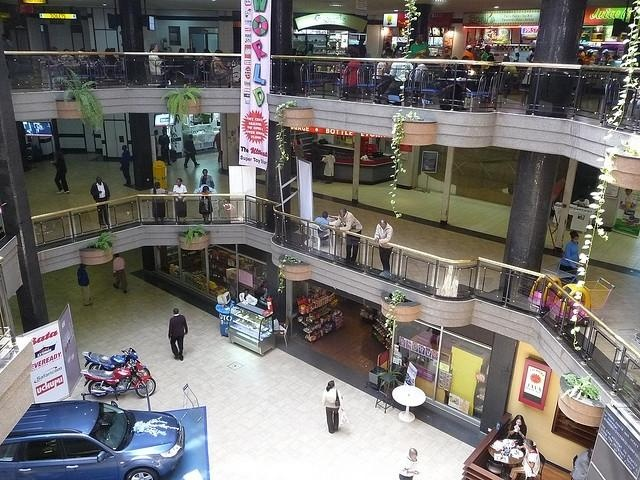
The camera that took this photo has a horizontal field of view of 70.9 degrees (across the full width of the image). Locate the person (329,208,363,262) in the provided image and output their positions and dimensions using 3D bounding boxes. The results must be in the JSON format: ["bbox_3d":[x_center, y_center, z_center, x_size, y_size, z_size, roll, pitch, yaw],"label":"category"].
[{"bbox_3d":[0.766,-0.165,14.211,0.945,1.568,1.499,0,22,1],"label":"person"}]

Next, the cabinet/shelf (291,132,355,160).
[{"bbox_3d":[0.181,-4.656,22.270,2.701,1.515,0.777,30,39,25],"label":"cabinet/shelf"}]

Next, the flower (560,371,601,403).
[{"bbox_3d":[5.016,2.818,8.705,0.615,0.412,0.719,6,23,14],"label":"flower"}]

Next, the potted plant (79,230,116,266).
[{"bbox_3d":[-7.731,0.324,15.752,0.904,0.856,1.144,8,15,15],"label":"potted plant"}]

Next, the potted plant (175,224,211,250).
[{"bbox_3d":[-4.813,-0.097,16.971,0.974,0.706,0.978,7,30,6],"label":"potted plant"}]

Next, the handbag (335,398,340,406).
[{"bbox_3d":[0.481,4.616,12.771,0.132,0.232,0.224,0,5,-3],"label":"handbag"}]

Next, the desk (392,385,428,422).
[{"bbox_3d":[2.579,4.915,13.308,1.000,0.744,1.020,12,16,38],"label":"desk"}]

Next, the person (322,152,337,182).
[{"bbox_3d":[0.442,-3.529,22.106,0.629,1.298,0.668,-7,23,-17],"label":"person"}]

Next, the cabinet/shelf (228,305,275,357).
[{"bbox_3d":[-2.492,3.366,16.278,1.300,1.204,0.760,17,29,28],"label":"cabinet/shelf"}]

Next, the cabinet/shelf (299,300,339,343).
[{"bbox_3d":[-0.129,3.181,17.243,1.243,1.076,0.405,-27,34,-36],"label":"cabinet/shelf"}]

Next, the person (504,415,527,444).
[{"bbox_3d":[5.237,5.087,12.020,0.374,1.119,0.438,12,-8,27],"label":"person"}]

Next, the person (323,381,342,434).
[{"bbox_3d":[0.320,4.789,12.857,0.506,1.494,0.495,0,22,1],"label":"person"}]

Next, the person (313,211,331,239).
[{"bbox_3d":[0.061,-0.505,14.562,0.462,0.931,1.070,1,22,2],"label":"person"}]

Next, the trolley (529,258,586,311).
[{"bbox_3d":[5.802,1.155,10.992,0.865,0.731,1.128,-26,35,-29],"label":"trolley"}]

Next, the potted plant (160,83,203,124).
[{"bbox_3d":[-5.098,-5.066,17.155,1.207,0.866,1.211,3,36,-2],"label":"potted plant"}]

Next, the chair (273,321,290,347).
[{"bbox_3d":[-1.449,3.397,16.822,0.588,0.856,0.717,4,22,11],"label":"chair"}]

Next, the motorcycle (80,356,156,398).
[{"bbox_3d":[-6.105,4.343,14.227,2.291,1.325,1.030,1,42,-14],"label":"motorcycle"}]

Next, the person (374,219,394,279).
[{"bbox_3d":[1.894,0.180,13.299,0.641,1.710,0.548,13,26,30],"label":"person"}]
